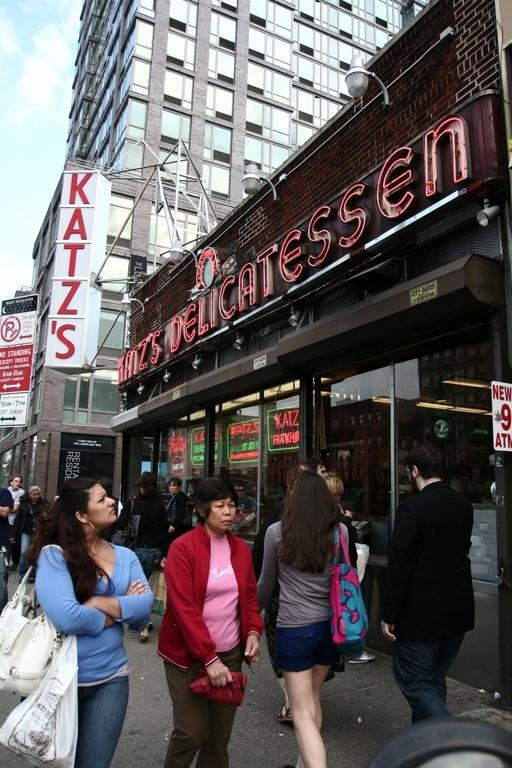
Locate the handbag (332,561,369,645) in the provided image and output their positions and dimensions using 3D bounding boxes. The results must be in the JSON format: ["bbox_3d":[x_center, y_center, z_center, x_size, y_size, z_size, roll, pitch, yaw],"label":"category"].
[{"bbox_3d":[0.479,1.174,2.943,0.182,0.421,0.212,-1,-7,8],"label":"handbag"}]

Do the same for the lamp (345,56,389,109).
[{"bbox_3d":[1.323,-3.633,6.785,0.441,0.712,0.270,4,-23,-3],"label":"lamp"}]

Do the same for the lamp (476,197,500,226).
[{"bbox_3d":[2.175,-1.595,5.271,0.196,0.262,0.329,-3,-7,25],"label":"lamp"}]

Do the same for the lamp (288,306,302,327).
[{"bbox_3d":[0.537,-0.997,8.370,0.198,0.307,0.261,4,-8,-34],"label":"lamp"}]

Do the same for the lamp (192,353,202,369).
[{"bbox_3d":[-1.248,-0.494,11.796,0.155,0.324,0.207,10,-43,11],"label":"lamp"}]

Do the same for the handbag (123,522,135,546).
[{"bbox_3d":[-1.547,1.854,6.905,0.121,0.264,0.159,1,-1,-3],"label":"handbag"}]

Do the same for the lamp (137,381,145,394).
[{"bbox_3d":[-3.147,0.097,15.352,0.218,0.212,0.202,-20,52,-43],"label":"lamp"}]

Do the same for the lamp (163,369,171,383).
[{"bbox_3d":[-2.157,-0.176,13.575,0.163,0.239,0.640,1,-7,-9],"label":"lamp"}]

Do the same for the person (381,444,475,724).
[{"bbox_3d":[0.973,1.160,3.212,0.425,1.564,0.517,-5,-9,39],"label":"person"}]
